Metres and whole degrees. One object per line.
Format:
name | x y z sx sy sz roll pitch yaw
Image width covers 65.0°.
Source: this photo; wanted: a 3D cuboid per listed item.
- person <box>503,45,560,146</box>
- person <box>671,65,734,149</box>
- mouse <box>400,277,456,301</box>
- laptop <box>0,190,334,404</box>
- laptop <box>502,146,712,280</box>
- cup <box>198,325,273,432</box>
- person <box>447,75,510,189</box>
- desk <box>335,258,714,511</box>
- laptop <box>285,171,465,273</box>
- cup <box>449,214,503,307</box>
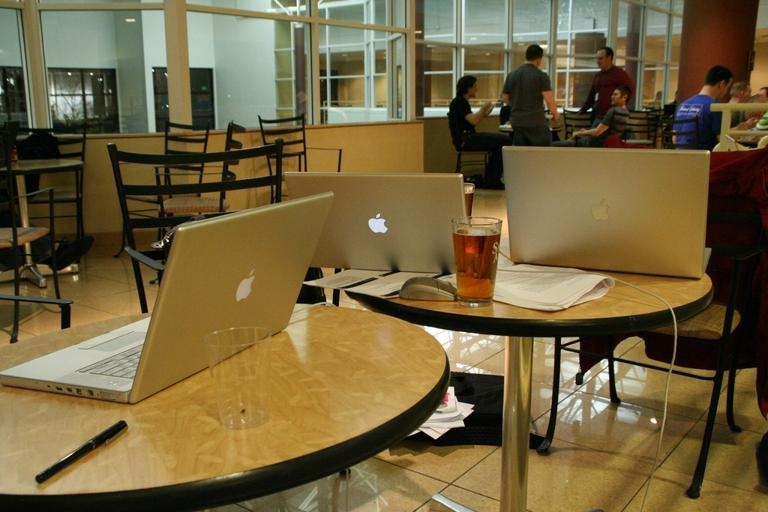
person | 1.442 -1.545 5.837 0.484 0.944 0.498 -1 15 3
person | 2.727 -1.275 5.170 0.400 0.686 0.993 5 16 26
mouse | 0.118 0.072 1.494 0.096 0.031 0.069 -3 5 -3
laptop | -0.427 0.077 1.249 0.474 0.310 0.510 3 8 22
laptop | 0.635 -0.098 1.741 0.536 0.348 0.392 6 -4 16
cup | -0.267 0.218 1.102 0.112 0.172 0.076 -4 15 -9
person | 1.236 -1.590 7.714 0.786 1.421 0.597 0 14 16
desk | 0.362 0.244 1.686 0.725 0.777 0.694 -5 12 -28
laptop | -0.044 -0.040 1.769 0.495 0.284 0.334 1 -15 -12
cup | 0.230 0.012 1.479 0.131 0.203 0.129 0 10 0
